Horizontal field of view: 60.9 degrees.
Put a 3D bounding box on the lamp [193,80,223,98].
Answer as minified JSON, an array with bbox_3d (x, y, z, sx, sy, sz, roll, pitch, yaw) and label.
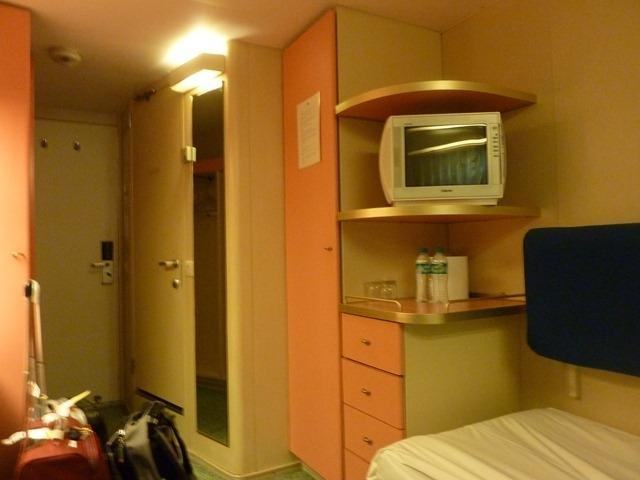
[{"bbox_3d":[-0.677,-0.944,3.408,0.347,0.056,0.027,0,18,46],"label":"lamp"}]

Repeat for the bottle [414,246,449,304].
[{"bbox_3d":[0.586,0.191,2.851,0.170,0.209,0.121,-3,1,12],"label":"bottle"}]

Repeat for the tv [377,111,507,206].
[{"bbox_3d":[0.605,-0.407,2.705,0.687,0.504,0.413,0,-1,-1],"label":"tv"}]

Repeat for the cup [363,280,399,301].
[{"bbox_3d":[0.335,0.275,3.011,0.120,0.081,0.118,1,-1,0],"label":"cup"}]

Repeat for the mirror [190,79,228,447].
[{"bbox_3d":[-0.708,0.154,3.438,0.151,2.114,0.428,-4,2,-39],"label":"mirror"}]
